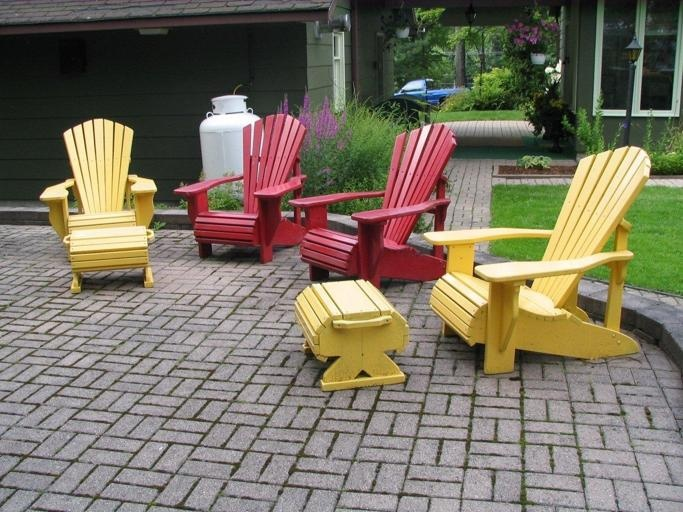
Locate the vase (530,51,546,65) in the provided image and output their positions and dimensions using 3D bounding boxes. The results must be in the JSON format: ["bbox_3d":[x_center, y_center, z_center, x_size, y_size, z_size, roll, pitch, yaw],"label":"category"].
[{"bbox_3d":[5.548,-5.587,16.391,0.383,0.275,0.784,3,18,15],"label":"vase"}]

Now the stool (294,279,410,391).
[{"bbox_3d":[0.052,0.452,3.729,0.637,0.396,0.843,-5,14,-16],"label":"stool"}]

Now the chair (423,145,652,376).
[{"bbox_3d":[1.252,0.022,3.710,1.258,1.120,1.069,-8,18,-9],"label":"chair"}]

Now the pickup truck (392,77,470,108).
[{"bbox_3d":[3.725,-6.909,24.456,2.272,0.941,15.982,1,18,10],"label":"pickup truck"}]

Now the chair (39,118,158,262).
[{"bbox_3d":[-2.328,-0.637,5.743,0.972,1.079,1.273,-3,18,-11],"label":"chair"}]

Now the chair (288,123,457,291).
[{"bbox_3d":[0.306,-0.403,4.928,1.304,1.178,1.116,-16,23,-39],"label":"chair"}]

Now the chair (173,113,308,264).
[{"bbox_3d":[-0.968,-0.684,5.828,1.162,1.183,1.275,4,20,13],"label":"chair"}]

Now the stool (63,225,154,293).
[{"bbox_3d":[-1.982,-0.050,4.969,0.804,0.457,0.543,-5,13,-17],"label":"stool"}]
